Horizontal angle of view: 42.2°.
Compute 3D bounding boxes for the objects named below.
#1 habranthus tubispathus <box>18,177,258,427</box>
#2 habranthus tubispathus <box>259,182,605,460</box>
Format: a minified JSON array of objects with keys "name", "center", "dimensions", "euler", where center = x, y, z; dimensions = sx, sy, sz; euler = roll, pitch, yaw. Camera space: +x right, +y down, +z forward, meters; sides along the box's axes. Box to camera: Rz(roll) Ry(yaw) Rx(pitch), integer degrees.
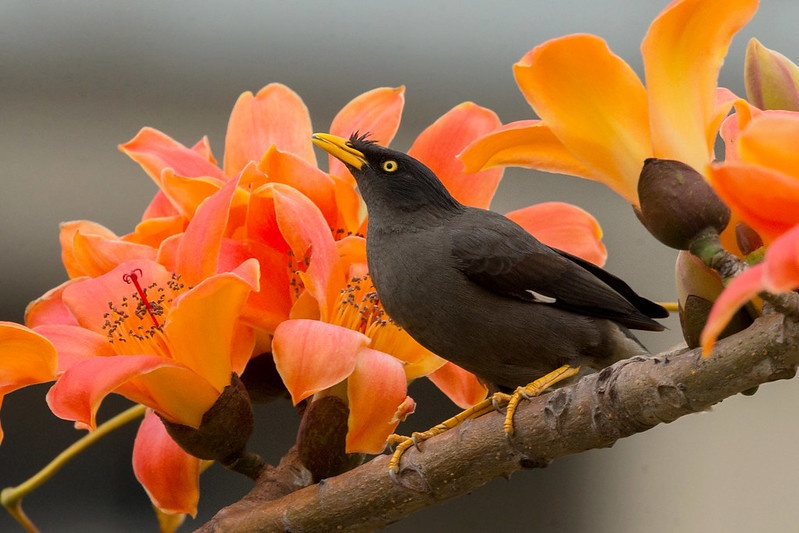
[{"name":"habranthus tubispathus","center":[-0.316,0.070,1.324],"dimensions":[0.282,0.172,0.293],"euler":[-34,29,-21]},{"name":"habranthus tubispathus","center":[0.059,0.054,1.367],"dimensions":[0.355,0.320,0.287],"euler":[-2,9,12]}]
